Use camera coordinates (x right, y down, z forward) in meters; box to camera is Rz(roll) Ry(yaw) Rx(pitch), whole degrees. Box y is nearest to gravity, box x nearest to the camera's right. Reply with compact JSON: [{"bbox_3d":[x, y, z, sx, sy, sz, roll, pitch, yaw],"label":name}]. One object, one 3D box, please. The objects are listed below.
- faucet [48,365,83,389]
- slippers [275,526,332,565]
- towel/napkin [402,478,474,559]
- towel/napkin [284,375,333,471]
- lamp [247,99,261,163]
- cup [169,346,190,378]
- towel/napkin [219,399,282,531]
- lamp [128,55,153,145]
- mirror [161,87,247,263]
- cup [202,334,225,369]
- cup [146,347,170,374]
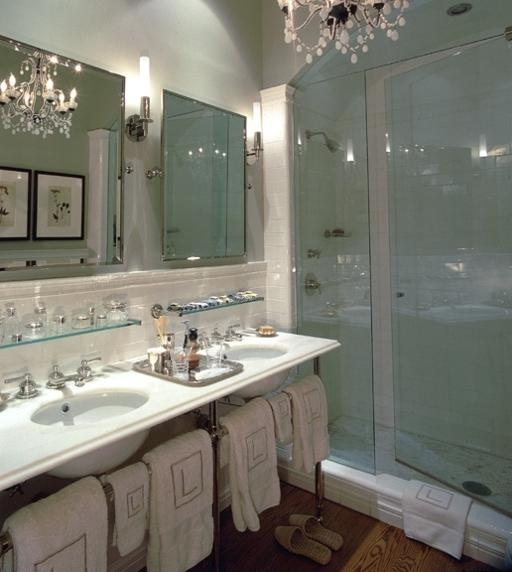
[{"bbox_3d":[-0.679,0.310,1.582,0.102,0.055,0.079,4,2,24],"label":"faucet"},{"bbox_3d":[0.209,1.109,1.962,0.098,0.071,0.231,1,1,-45],"label":"slippers"},{"bbox_3d":[0.832,1.073,2.059,0.283,0.337,0.210,4,1,35],"label":"towel/napkin"},{"bbox_3d":[0.242,0.652,2.031,0.163,0.427,0.313,3,1,20],"label":"towel/napkin"},{"bbox_3d":[-0.004,-0.895,2.602,0.098,0.319,0.092,6,12,33],"label":"lamp"},{"bbox_3d":[-0.295,0.316,1.741,0.067,0.101,0.095,1,-6,-9],"label":"cup"},{"bbox_3d":[-0.014,0.679,1.714,0.166,0.452,0.293,3,1,30],"label":"towel/napkin"},{"bbox_3d":[-0.498,-0.826,1.918,0.102,0.329,0.238,3,1,-15],"label":"lamp"},{"bbox_3d":[-0.246,-0.540,2.316,0.035,0.790,0.668,3,1,34],"label":"mirror"},{"bbox_3d":[-0.185,0.303,1.967,0.100,0.176,0.088,2,0,-30],"label":"cup"},{"bbox_3d":[-0.375,0.291,1.731,0.089,0.088,0.140,3,1,-12],"label":"cup"}]
